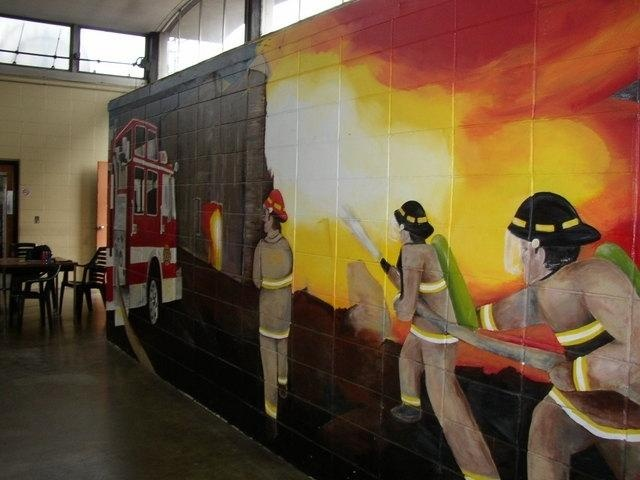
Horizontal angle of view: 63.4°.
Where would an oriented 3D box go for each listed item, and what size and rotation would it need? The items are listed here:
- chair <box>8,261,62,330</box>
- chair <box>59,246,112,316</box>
[{"bbox_3d":[-4.081,0.828,7.318,0.648,0.888,0.679,0,-1,19],"label":"chair"},{"bbox_3d":[-3.630,0.630,8.046,0.654,1.034,0.702,3,-3,-20],"label":"chair"}]
